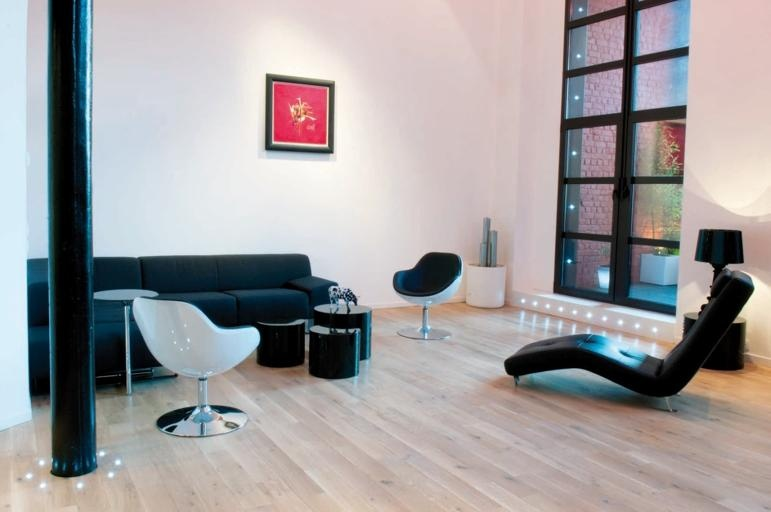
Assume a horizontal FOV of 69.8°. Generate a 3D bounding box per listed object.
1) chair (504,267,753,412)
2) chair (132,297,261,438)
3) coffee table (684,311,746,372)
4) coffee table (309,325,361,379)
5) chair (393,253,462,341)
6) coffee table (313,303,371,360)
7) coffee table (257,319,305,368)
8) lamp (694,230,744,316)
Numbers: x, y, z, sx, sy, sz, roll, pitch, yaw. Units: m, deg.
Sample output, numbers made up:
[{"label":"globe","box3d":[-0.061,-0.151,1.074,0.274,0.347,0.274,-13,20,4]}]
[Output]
[{"label":"chair","box3d":[2.254,0.690,5.735,2.316,1.385,1.166,3,4,22]},{"label":"chair","box3d":[-1.533,0.927,4.919,1.092,1.249,1.140,3,2,29]},{"label":"coffee table","box3d":[3.765,0.931,6.356,0.542,0.521,0.609,27,-22,-36]},{"label":"coffee table","box3d":[-0.509,1.012,5.881,0.517,0.481,0.541,6,9,41]},{"label":"chair","box3d":[0.564,0.530,7.293,0.825,1.038,0.940,10,16,35]},{"label":"coffee table","box3d":[-0.482,0.846,6.191,0.645,0.464,0.596,2,2,12]},{"label":"coffee table","box3d":[-1.127,0.960,6.058,0.466,0.400,0.495,0,-2,3]},{"label":"lamp","box3d":[3.800,0.065,6.310,0.482,0.712,0.479,5,10,36]}]
